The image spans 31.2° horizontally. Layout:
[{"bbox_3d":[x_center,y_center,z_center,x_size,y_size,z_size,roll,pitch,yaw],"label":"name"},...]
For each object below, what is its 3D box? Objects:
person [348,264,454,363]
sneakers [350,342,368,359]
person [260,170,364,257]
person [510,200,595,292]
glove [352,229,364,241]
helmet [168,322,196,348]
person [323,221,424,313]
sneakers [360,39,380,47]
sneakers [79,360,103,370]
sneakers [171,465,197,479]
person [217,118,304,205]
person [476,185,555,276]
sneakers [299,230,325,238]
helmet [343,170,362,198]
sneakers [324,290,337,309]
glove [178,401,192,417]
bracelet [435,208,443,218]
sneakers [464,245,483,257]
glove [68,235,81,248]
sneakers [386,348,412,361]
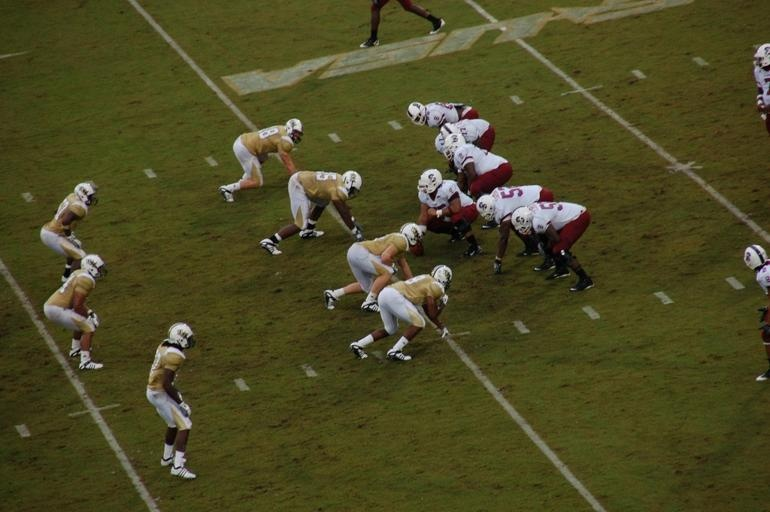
[{"bbox_3d":[0.223,0.775,19.134,1.711,0.643,1.120,0,89,-23],"label":"person"},{"bbox_3d":[-0.408,1.301,19.117,0.167,0.339,0.119,-19,59,17],"label":"sneakers"},{"bbox_3d":[-1.186,-0.698,20.807,1.765,0.884,0.989,-8,102,-16],"label":"person"},{"bbox_3d":[2.395,-0.135,19.994,1.254,1.165,0.783,-24,25,13],"label":"person"},{"bbox_3d":[-0.438,-0.328,20.702,0.151,0.209,0.118,-16,54,19],"label":"glove"},{"bbox_3d":[-2.612,1.002,17.980,0.464,0.290,0.290,8,105,-18],"label":"helmet"},{"bbox_3d":[-0.124,0.167,19.724,1.702,0.643,1.107,1,92,-10],"label":"person"},{"bbox_3d":[-0.307,-3.855,24.859,0.390,0.111,0.115,-2,28,1],"label":"sneakers"},{"bbox_3d":[-4.166,1.496,19.150,0.425,0.117,0.123,1,96,-10],"label":"sneakers"},{"bbox_3d":[-2.676,2.804,17.884,0.411,0.126,0.131,8,20,2],"label":"sneakers"},{"bbox_3d":[-1.960,-1.576,21.677,1.707,0.887,0.917,-12,28,-9],"label":"person"},{"bbox_3d":[1.906,-0.373,20.164,1.179,1.077,0.801,-22,36,20],"label":"person"},{"bbox_3d":[-1.171,-0.350,21.109,0.443,0.252,0.099,-2,97,-7],"label":"sneakers"},{"bbox_3d":[-0.531,-1.076,20.433,0.264,0.375,0.305,-11,65,0],"label":"helmet"},{"bbox_3d":[-0.825,0.624,19.826,0.186,0.323,0.117,-6,46,3],"label":"sneakers"},{"bbox_3d":[-2.651,1.964,17.919,0.246,0.226,0.089,30,86,-10],"label":"glove"},{"bbox_3d":[0.761,-0.654,20.444,0.098,0.087,0.088,1,90,-1],"label":"bracelet"},{"bbox_3d":[1.285,-0.085,20.584,0.318,0.110,0.115,-15,18,-33],"label":"sneakers"},{"bbox_3d":[-4.662,-0.214,20.195,0.248,0.142,0.069,36,106,7],"label":"glove"},{"bbox_3d":[0.144,1.359,19.114,0.454,0.144,0.117,2,46,-6],"label":"sneakers"}]
